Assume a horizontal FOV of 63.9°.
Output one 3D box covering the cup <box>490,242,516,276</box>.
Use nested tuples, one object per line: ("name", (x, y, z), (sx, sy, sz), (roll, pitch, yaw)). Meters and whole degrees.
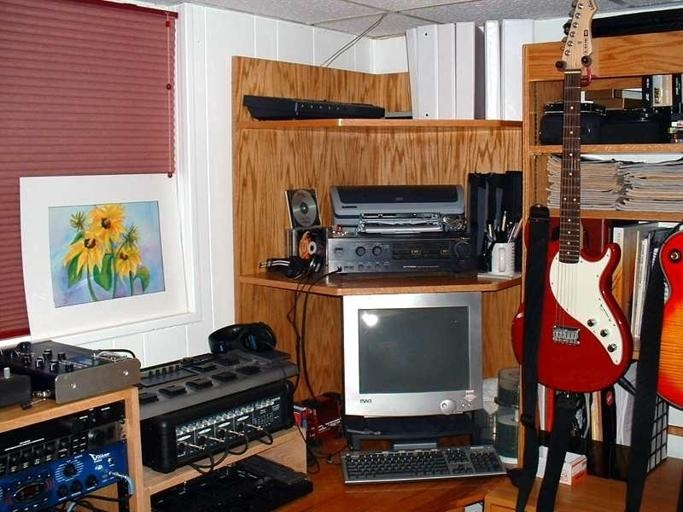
("cup", (0.671, 0.018, 2.315), (0.110, 0.122, 0.129), (-4, 8, -17))

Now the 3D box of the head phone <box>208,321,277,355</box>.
("head phone", (-0.372, 0.318, 2.054), (0.195, 0.085, 0.136), (-3, 7, 1))

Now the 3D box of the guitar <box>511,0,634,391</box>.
("guitar", (0.817, -0.177, 1.837), (0.294, 1.293, 0.193), (0, 9, 25))

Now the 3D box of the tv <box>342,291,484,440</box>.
("tv", (0.258, 0.437, 2.282), (0.625, 0.545, 0.407), (1, -5, -21))

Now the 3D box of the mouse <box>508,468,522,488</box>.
("mouse", (0.638, 0.821, 2.010), (0.072, 0.021, 0.096), (0, 4, 22))

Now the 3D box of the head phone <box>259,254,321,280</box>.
("head phone", (-0.183, 0.056, 2.320), (0.173, 0.059, 0.128), (3, 2, -34))

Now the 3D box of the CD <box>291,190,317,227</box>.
("CD", (-0.171, -0.209, 2.535), (0.047, 0.167, 0.170), (2, 9, 32))
